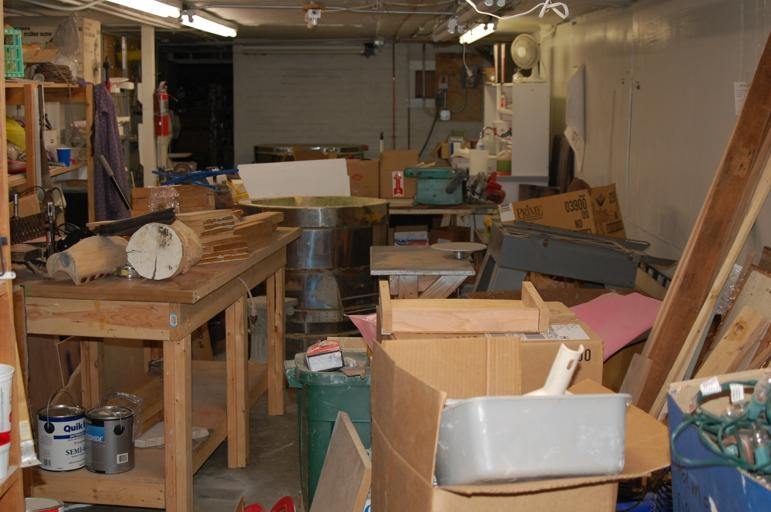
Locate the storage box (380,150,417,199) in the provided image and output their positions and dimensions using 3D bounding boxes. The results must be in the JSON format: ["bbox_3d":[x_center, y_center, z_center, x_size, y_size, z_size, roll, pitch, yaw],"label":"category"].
[{"bbox_3d":[0.095,-1.019,7.862,0.544,0.568,0.551,-1,9,-6],"label":"storage box"}]

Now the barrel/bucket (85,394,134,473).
[{"bbox_3d":[-1.570,1.012,3.689,0.306,0.320,0.319,1,8,0],"label":"barrel/bucket"}]

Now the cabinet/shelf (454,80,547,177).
[{"bbox_3d":[1.632,-1.817,9.033,0.714,1.486,2.423,0,9,2],"label":"cabinet/shelf"}]

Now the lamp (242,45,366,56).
[{"bbox_3d":[-1.628,-3.939,12.265,2.367,0.151,0.136,0,13,-1],"label":"lamp"}]

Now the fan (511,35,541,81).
[{"bbox_3d":[1.873,-2.557,8.265,0.393,0.628,0.394,-17,29,-23],"label":"fan"}]

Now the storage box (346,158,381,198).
[{"bbox_3d":[-0.264,-0.939,7.744,0.458,0.439,0.448,0,4,1],"label":"storage box"}]

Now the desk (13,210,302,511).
[{"bbox_3d":[-1.215,0.634,4.244,1.158,1.158,1.884,2,7,14],"label":"desk"}]
